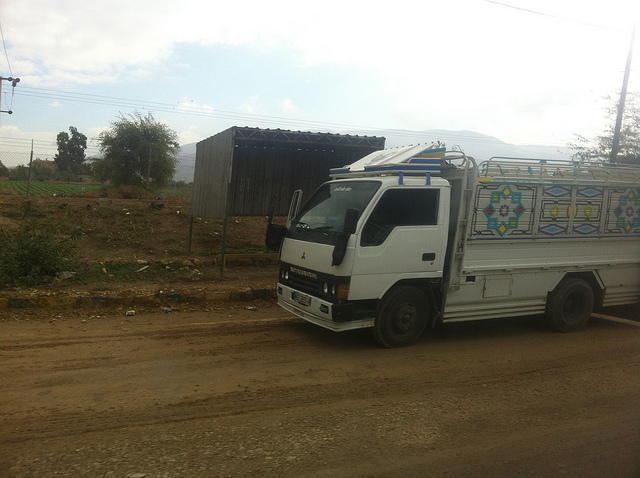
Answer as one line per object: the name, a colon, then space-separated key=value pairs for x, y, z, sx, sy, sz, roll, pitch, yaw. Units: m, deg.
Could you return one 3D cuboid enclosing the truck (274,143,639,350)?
truck: x=2.813 y=0.073 z=9.321 sx=6.750 sy=3.592 sz=1.374 roll=-1 pitch=13 yaw=-19
